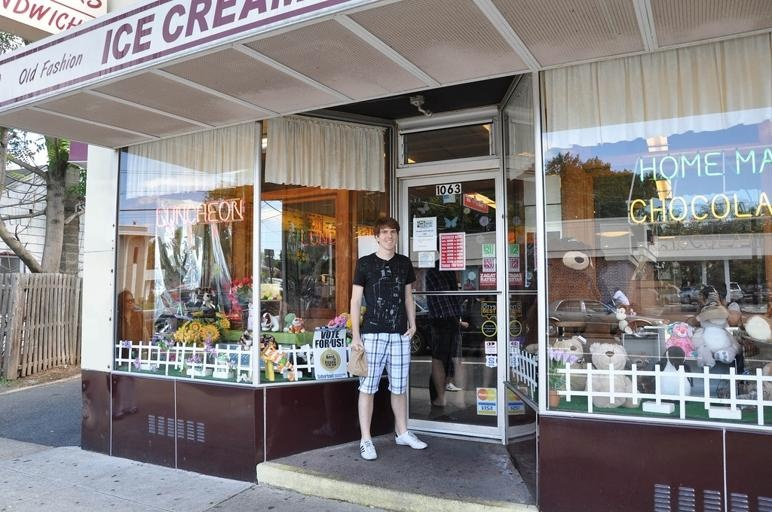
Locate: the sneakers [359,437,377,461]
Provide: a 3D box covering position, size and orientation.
[{"bbox_3d":[-0.186,1.920,5.871,0.168,0.185,0.243,-4,2,-2],"label":"sneakers"}]

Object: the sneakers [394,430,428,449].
[{"bbox_3d":[0.264,1.896,6.085,0.396,0.148,0.144,0,-1,34],"label":"sneakers"}]

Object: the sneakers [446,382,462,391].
[{"bbox_3d":[0.749,1.449,6.492,0.180,0.068,0.066,-2,-4,17],"label":"sneakers"}]
